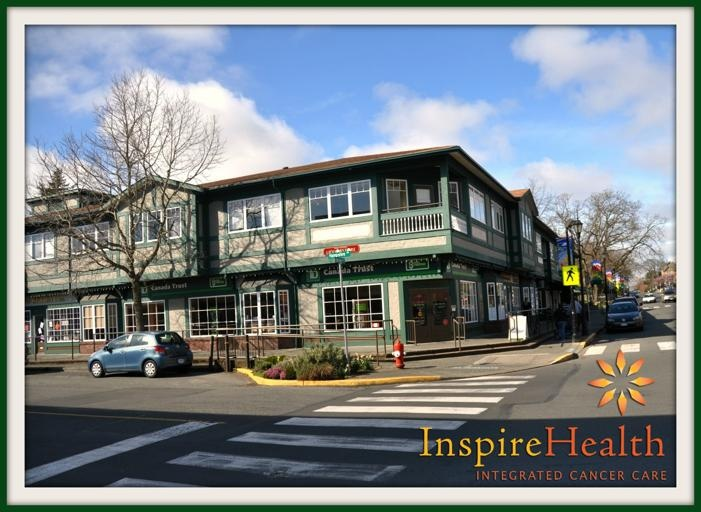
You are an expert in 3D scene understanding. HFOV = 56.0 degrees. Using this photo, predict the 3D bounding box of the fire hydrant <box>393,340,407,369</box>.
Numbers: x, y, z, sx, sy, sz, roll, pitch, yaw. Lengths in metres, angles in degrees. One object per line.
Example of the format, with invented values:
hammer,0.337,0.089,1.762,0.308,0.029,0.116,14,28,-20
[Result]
fire hydrant,1.623,3.249,21.792,0.272,0.898,0.402,-3,-7,1

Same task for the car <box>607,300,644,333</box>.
car,13.183,2.908,31.561,1.151,0.953,2.238,-6,-14,21

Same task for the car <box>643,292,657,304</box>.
car,36.422,5.077,79.818,1.216,0.844,2.592,-13,-9,30

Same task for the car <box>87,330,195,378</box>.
car,-7.752,3.629,24.879,3.105,1.415,1.904,-2,-7,24
